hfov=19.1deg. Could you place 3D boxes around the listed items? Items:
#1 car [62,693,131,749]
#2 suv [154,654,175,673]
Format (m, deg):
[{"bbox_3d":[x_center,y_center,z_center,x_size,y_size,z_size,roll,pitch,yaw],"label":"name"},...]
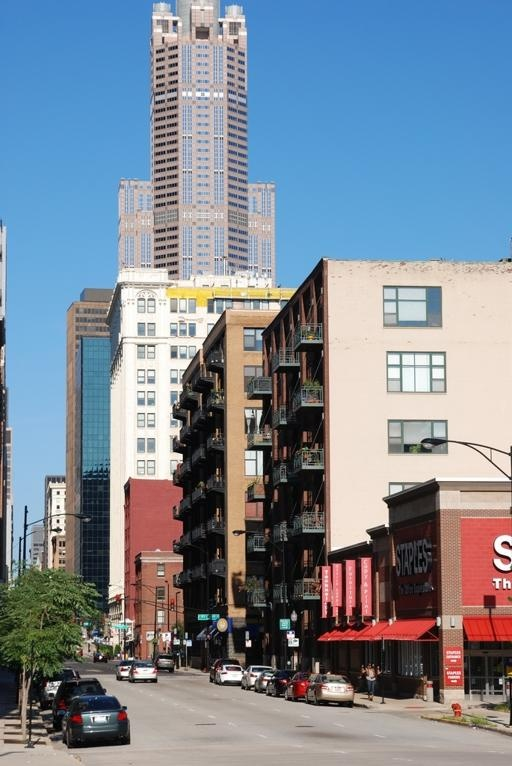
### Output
[{"bbox_3d":[-4.164,8.833,39.792,1.541,1.333,1.960,9,-16,-42],"label":"car"},{"bbox_3d":[-6.561,20.127,109.990,1.394,1.695,3.600,1,1,-4],"label":"suv"}]
